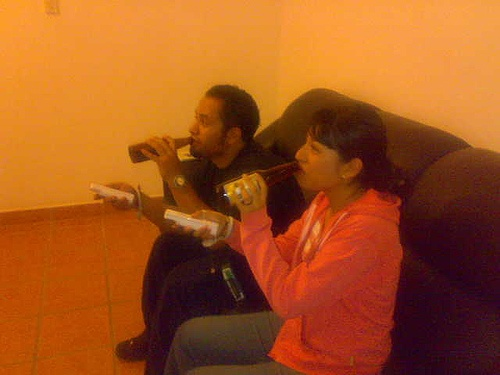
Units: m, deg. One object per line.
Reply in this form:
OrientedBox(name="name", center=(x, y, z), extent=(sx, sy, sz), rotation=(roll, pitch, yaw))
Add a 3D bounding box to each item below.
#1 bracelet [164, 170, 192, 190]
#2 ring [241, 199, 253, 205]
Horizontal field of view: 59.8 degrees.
OrientedBox(name="bracelet", center=(-0.303, -0.024, 1.835), extent=(0.118, 0.070, 0.107), rotation=(-6, -4, -29))
OrientedBox(name="ring", center=(-0.008, 0.041, 1.267), extent=(0.034, 0.018, 0.018), rotation=(6, 0, -12))
